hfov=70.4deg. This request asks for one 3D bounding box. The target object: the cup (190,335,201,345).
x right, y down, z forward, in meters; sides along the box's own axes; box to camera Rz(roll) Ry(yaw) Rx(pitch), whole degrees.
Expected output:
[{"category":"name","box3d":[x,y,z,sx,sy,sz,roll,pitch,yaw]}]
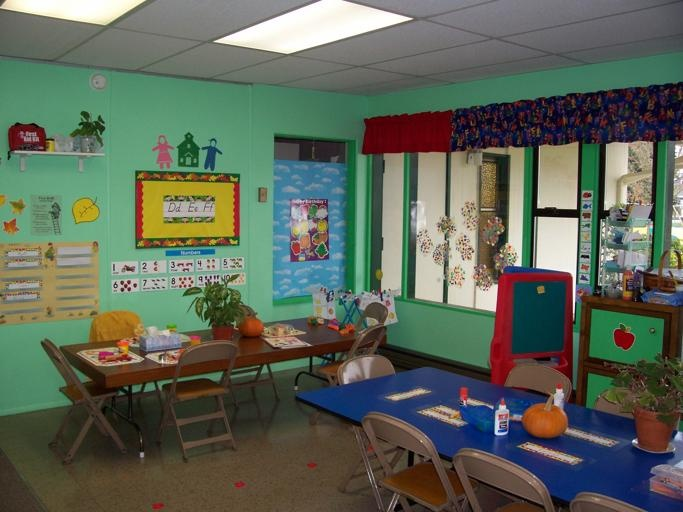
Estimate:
[{"category":"cup","box3d":[-1.429,0.822,4.728,0.083,0.061,0.082,1,-3,0]}]

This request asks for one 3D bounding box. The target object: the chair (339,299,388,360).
[{"category":"chair","box3d":[0.403,0.853,5.921,0.691,0.894,0.543,2,-1,-41]}]

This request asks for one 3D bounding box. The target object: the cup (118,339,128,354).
[{"category":"cup","box3d":[-1.961,0.826,4.386,0.098,0.108,0.100,0,-4,0]}]

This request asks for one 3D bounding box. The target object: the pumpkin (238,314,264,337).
[{"category":"pumpkin","box3d":[-0.915,0.709,5.010,0.228,0.217,0.224,1,-3,-41]}]

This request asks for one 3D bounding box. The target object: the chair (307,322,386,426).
[{"category":"chair","box3d":[0.084,1.163,5.089,0.731,0.951,0.562,6,-3,35]}]

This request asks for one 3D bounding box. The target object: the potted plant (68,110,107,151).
[{"category":"potted plant","box3d":[-2.724,-1.366,5.244,0.335,0.348,0.289,12,9,42]}]

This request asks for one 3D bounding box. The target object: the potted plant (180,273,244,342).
[{"category":"potted plant","box3d":[-1.337,0.520,4.995,0.696,0.574,0.698,0,-2,-33]}]
